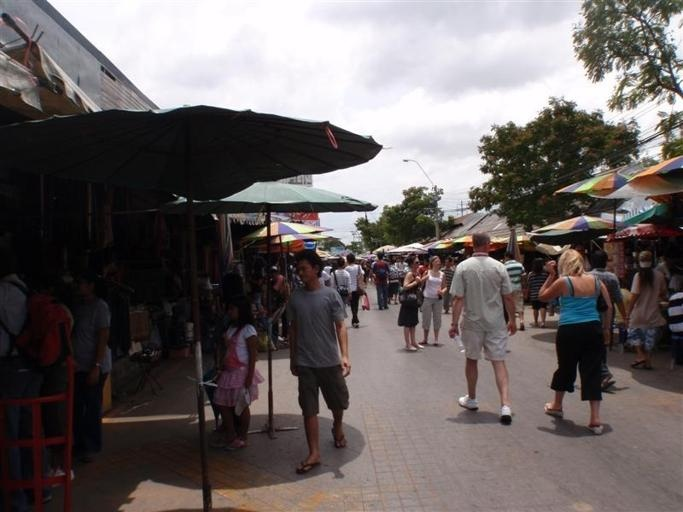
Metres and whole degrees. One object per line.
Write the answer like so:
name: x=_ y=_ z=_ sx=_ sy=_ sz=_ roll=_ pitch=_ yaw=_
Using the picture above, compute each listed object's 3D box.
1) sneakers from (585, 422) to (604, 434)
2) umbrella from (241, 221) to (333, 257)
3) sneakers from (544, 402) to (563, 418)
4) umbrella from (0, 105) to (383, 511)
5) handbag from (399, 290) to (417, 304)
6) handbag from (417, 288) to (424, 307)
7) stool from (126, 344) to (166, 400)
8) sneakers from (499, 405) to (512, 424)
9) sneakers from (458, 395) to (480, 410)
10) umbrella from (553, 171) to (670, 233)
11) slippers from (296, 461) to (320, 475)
sneakers: x=3.149 y=2.139 z=7.121 sx=0.093 sy=0.088 sz=0.196 roll=-2 pitch=-11 yaw=-6
umbrella: x=-1.246 y=-0.545 z=14.704 sx=1.903 sy=0.701 sz=1.863 roll=-1 pitch=4 yaw=32
sneakers: x=2.845 y=2.066 z=7.720 sx=0.265 sy=0.141 sz=0.262 roll=0 pitch=4 yaw=30
umbrella: x=-1.625 y=0.527 z=6.413 sx=3.714 sy=3.859 sz=2.686 roll=-2 pitch=3 yaw=1
handbag: x=1.428 y=0.865 z=12.271 sx=0.330 sy=0.332 sz=0.242 roll=3 pitch=-7 yaw=-5
handbag: x=1.708 y=0.909 z=12.392 sx=0.134 sy=0.371 sz=0.404 roll=-12 pitch=0 yaw=14
stool: x=-3.209 y=1.894 z=9.525 sx=0.744 sy=1.028 sz=0.742 roll=-2 pitch=-14 yaw=0
sneakers: x=2.145 y=2.059 z=7.488 sx=0.144 sy=0.215 sz=0.174 roll=-1 pitch=3 yaw=15
sneakers: x=1.796 y=2.060 z=8.082 sx=0.126 sy=0.140 sz=0.323 roll=-1 pitch=5 yaw=-19
umbrella: x=5.310 y=-1.263 z=11.188 sx=1.533 sy=1.098 sz=1.543 roll=-1 pitch=-4 yaw=0
slippers: x=-0.366 y=2.338 z=6.357 sx=0.201 sy=0.053 sz=0.111 roll=4 pitch=-5 yaw=-42
